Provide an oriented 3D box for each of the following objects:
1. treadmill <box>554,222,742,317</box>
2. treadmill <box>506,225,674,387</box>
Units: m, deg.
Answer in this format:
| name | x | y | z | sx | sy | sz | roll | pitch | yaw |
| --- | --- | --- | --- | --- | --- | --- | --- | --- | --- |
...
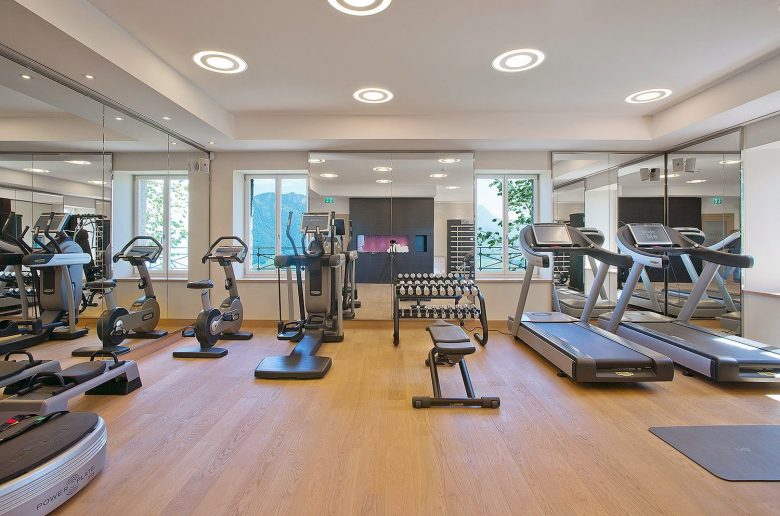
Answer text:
| name | x | y | z | sx | sy | sz | roll | pitch | yaw |
| --- | --- | --- | --- | --- | --- | --- | --- | --- | --- |
| treadmill | 3.787 | 0.265 | 7.792 | 2.426 | 1.375 | 1.140 | 2 | -4 | 6 |
| treadmill | 2.410 | 0.451 | 6.682 | 1.263 | 1.738 | 2.486 | 1 | 6 | -9 |
